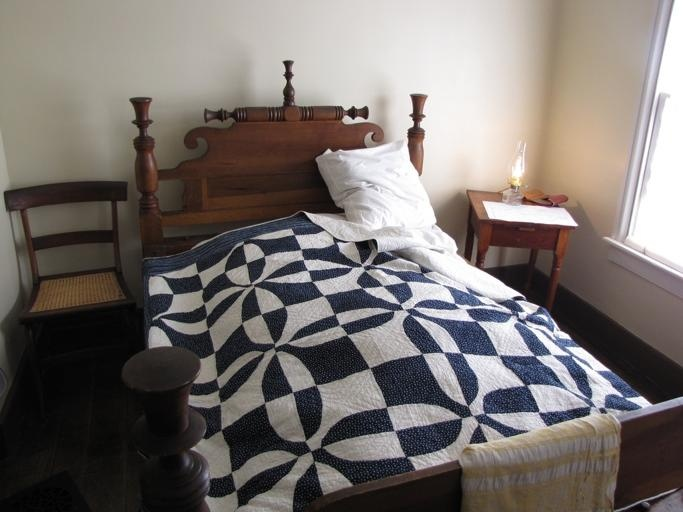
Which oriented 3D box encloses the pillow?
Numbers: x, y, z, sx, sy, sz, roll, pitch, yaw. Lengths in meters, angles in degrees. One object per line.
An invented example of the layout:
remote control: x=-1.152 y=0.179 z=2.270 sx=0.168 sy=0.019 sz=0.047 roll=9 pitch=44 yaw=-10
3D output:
pillow: x=0.173 y=-0.358 z=2.541 sx=0.455 sy=0.358 sz=0.533 roll=-9 pitch=25 yaw=-25
